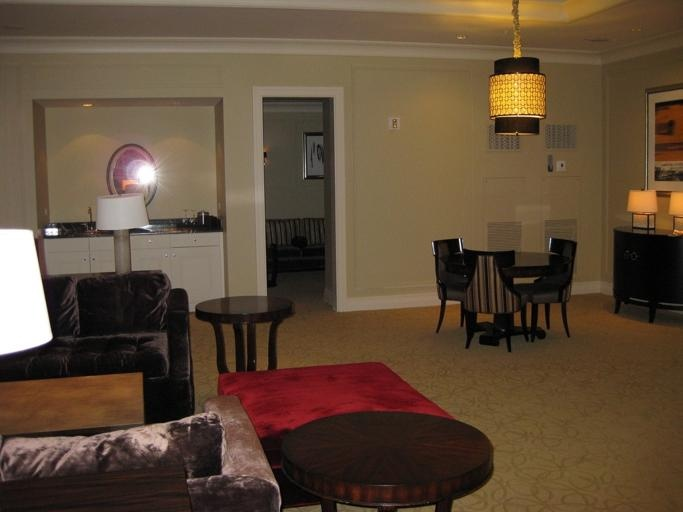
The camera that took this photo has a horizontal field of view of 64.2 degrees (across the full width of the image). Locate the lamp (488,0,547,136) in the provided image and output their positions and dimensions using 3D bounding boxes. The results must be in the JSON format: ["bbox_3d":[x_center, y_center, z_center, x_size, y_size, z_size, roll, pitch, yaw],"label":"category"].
[{"bbox_3d":[1.440,-1.613,4.455,0.387,1.309,1.364,1,6,18],"label":"lamp"}]

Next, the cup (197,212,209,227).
[{"bbox_3d":[-1.960,-0.534,7.742,0.140,0.173,0.190,0,-1,1],"label":"cup"}]

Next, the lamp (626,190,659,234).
[{"bbox_3d":[3.774,-0.534,6.837,0.355,0.547,0.362,4,6,42],"label":"lamp"}]

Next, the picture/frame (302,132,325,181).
[{"bbox_3d":[-0.586,-2.080,11.289,0.412,0.982,0.313,-2,6,-5],"label":"picture/frame"}]

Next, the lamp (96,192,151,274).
[{"bbox_3d":[-2.066,-0.207,5.105,0.384,0.724,0.401,4,8,43],"label":"lamp"}]

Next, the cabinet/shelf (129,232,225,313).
[{"bbox_3d":[-2.208,0.198,7.324,1.258,1.144,0.499,-2,15,-7],"label":"cabinet/shelf"}]

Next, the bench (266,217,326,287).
[{"bbox_3d":[-0.791,-0.166,10.777,1.359,0.948,0.669,-5,20,-15],"label":"bench"}]

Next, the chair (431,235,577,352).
[{"bbox_3d":[1.580,0.344,5.706,1.304,1.048,1.197,2,4,42],"label":"chair"}]

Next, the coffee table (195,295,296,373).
[{"bbox_3d":[-0.776,0.689,4.348,0.709,0.637,0.705,-5,7,-29],"label":"coffee table"}]

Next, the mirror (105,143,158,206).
[{"bbox_3d":[-3.035,-1.214,7.889,0.921,1.083,0.409,2,15,-7],"label":"mirror"}]
